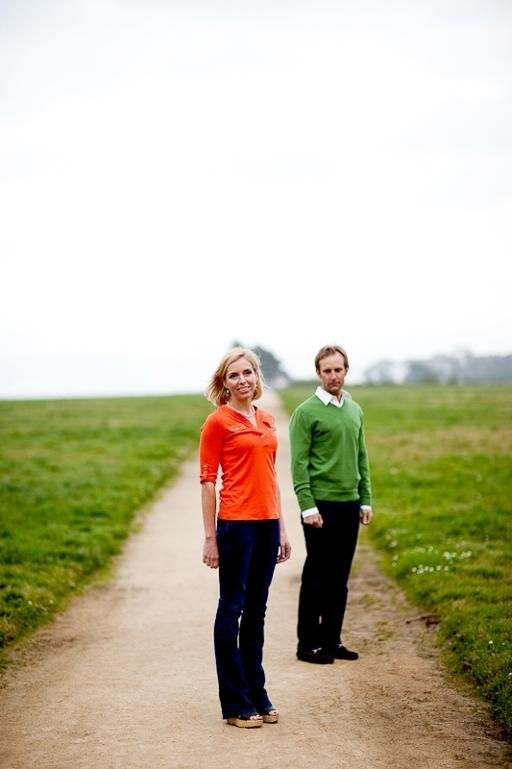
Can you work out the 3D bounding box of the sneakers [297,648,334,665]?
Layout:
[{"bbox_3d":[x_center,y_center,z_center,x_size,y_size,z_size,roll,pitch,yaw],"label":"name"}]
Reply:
[{"bbox_3d":[0.404,1.868,5.265,0.233,0.108,0.100,-2,15,7],"label":"sneakers"}]

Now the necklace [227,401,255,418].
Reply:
[{"bbox_3d":[-0.083,0.135,4.269,0.115,0.032,0.089,10,7,35],"label":"necklace"}]

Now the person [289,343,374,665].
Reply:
[{"bbox_3d":[0.485,0.836,5.286,0.475,2.195,0.352,1,3,-43],"label":"person"}]

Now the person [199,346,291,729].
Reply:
[{"bbox_3d":[-0.094,0.832,4.256,0.546,2.060,0.479,2,2,-22],"label":"person"}]

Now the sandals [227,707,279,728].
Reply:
[{"bbox_3d":[-0.013,1.829,4.158,0.224,0.090,0.110,-3,-3,-10],"label":"sandals"}]
